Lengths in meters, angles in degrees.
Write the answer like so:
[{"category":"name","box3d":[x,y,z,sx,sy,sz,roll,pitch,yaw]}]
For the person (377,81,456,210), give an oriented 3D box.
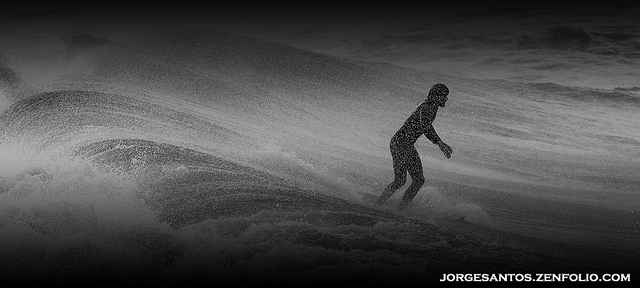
[{"category":"person","box3d":[1.290,0.044,7.329,0.971,1.742,0.347,1,15,4]}]
